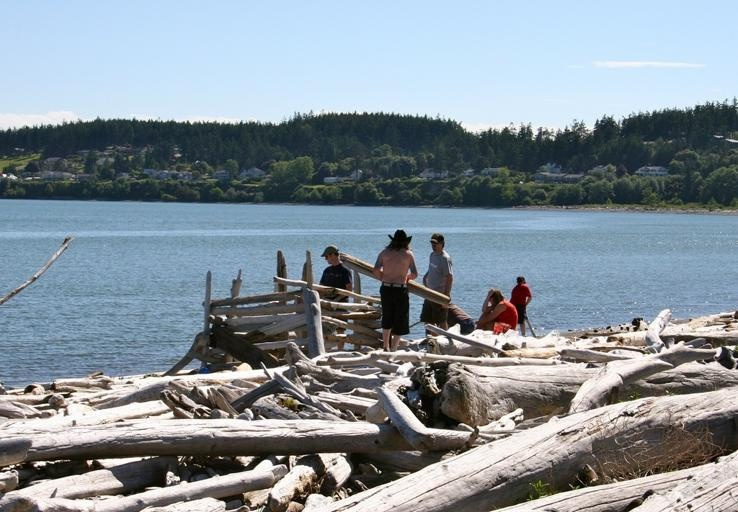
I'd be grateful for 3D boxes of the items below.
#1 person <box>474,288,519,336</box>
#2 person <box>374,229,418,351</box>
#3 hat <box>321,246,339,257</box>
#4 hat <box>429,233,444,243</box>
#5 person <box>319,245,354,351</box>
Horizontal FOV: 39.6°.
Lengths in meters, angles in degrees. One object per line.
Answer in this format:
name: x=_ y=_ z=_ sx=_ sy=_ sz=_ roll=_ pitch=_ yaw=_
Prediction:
person: x=2.348 y=1.024 z=19.413 sx=0.964 sy=0.947 sz=0.683 roll=4 pitch=4 yaw=38
person: x=0.421 y=0.580 z=17.321 sx=0.705 sy=2.067 sz=0.987 roll=1 pitch=5 yaw=0
hat: x=-0.699 y=-0.089 z=18.448 sx=0.306 sy=0.131 sz=0.196 roll=0 pitch=2 yaw=-3
hat: x=1.213 y=-0.323 z=18.145 sx=0.171 sy=0.102 sz=0.234 roll=1 pitch=-10 yaw=41
person: x=-0.608 y=0.737 z=18.794 sx=0.580 sy=1.882 sz=0.876 roll=1 pitch=5 yaw=-3
